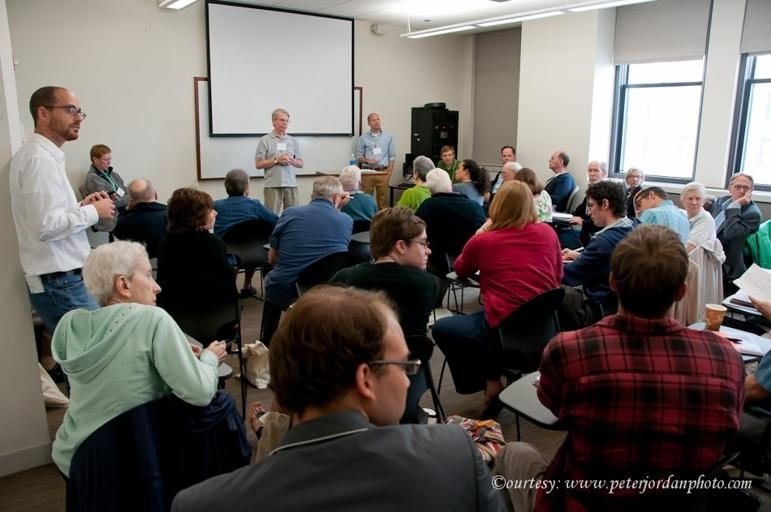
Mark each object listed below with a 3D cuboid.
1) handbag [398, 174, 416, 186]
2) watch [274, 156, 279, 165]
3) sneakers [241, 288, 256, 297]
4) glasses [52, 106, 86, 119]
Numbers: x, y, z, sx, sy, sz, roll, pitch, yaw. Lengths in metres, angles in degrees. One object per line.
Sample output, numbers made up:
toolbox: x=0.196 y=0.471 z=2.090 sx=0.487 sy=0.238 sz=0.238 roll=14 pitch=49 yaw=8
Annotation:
handbag: x=0.378 y=-1.332 z=9.604 sx=0.246 sy=0.116 sz=0.339 roll=-4 pitch=11 yaw=-19
watch: x=-1.477 y=-1.279 z=7.258 sx=0.095 sy=0.103 sz=0.061 roll=-5 pitch=8 yaw=2
sneakers: x=-1.546 y=0.410 z=6.045 sx=0.065 sy=0.083 sz=0.190 roll=4 pitch=11 yaw=23
glasses: x=-1.994 y=-0.895 z=3.324 sx=0.141 sy=0.045 sz=0.143 roll=7 pitch=9 yaw=24
